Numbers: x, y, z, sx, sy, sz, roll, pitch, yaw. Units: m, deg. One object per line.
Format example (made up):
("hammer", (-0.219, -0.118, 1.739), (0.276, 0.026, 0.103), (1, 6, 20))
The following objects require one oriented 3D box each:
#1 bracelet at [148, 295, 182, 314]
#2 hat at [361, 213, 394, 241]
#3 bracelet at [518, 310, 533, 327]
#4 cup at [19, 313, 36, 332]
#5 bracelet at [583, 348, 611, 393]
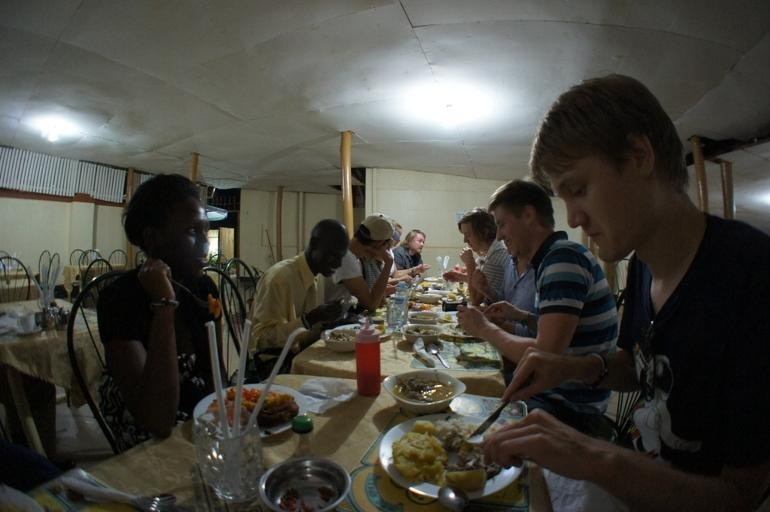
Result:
("bracelet", (-1.162, 0.265, 2.564), (0.102, 0.058, 0.077), (0, -2, 14))
("hat", (-0.066, -0.254, 4.332), (0.268, 0.241, 0.206), (1, 2, -3))
("bracelet", (0.947, 0.405, 3.174), (0.098, 0.103, 0.110), (5, 2, 44))
("cup", (-2.761, 0.513, 3.697), (0.085, 0.126, 0.133), (-5, -12, 30))
("bracelet", (1.083, 0.591, 2.432), (0.065, 0.157, 0.133), (8, -14, -1))
